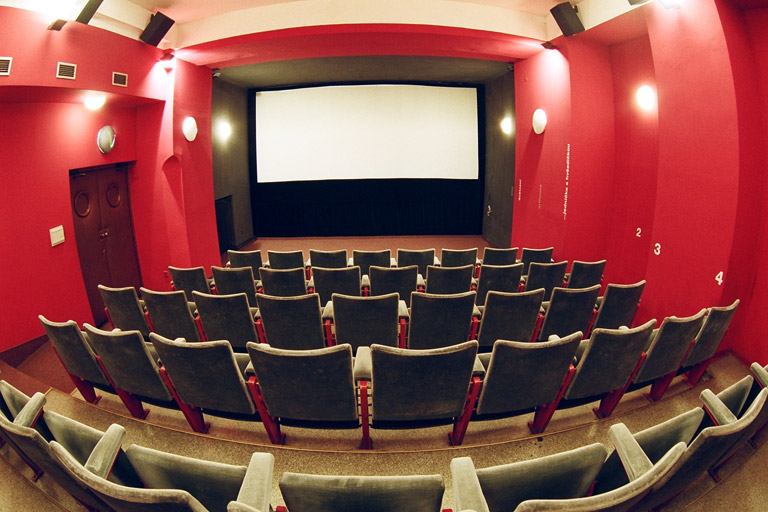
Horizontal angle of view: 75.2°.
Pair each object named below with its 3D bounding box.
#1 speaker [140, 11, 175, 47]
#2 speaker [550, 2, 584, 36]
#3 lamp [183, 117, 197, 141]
[{"bbox_3d":[-3.112,-3.131,6.833,0.374,0.435,0.243,4,7,15],"label":"speaker"},{"bbox_3d":[2.603,-3.343,6.997,0.223,0.413,0.229,-32,21,10],"label":"speaker"},{"bbox_3d":[-3.050,-2.002,7.843,0.082,0.398,0.314,4,7,12],"label":"lamp"}]
